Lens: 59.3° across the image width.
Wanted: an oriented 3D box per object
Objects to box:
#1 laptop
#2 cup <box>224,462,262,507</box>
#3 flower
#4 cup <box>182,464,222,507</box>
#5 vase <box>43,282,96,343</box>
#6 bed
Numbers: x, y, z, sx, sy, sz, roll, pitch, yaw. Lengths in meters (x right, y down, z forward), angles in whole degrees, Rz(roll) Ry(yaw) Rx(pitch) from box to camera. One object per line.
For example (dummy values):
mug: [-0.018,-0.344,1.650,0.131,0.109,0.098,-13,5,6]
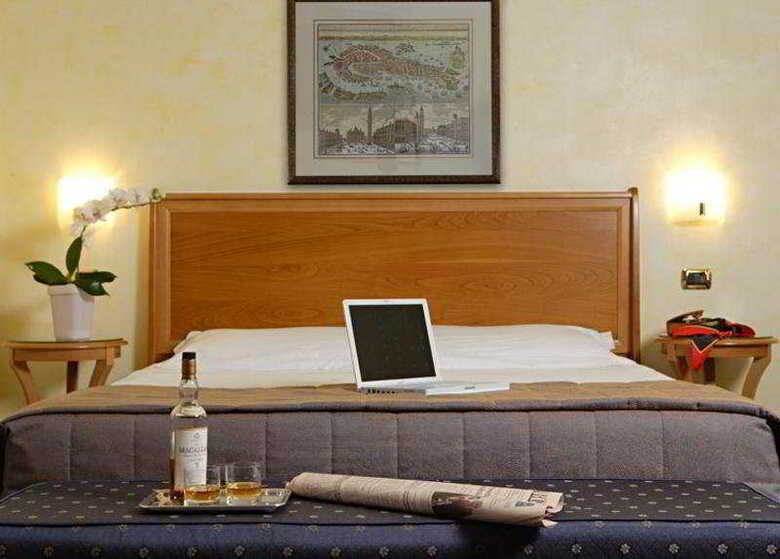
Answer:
laptop: [0.102,0.252,2.548,0.451,0.290,0.522,-7,-7,43]
cup: [-0.390,0.545,1.825,0.128,0.094,0.109,0,-2,0]
flower: [-1.497,-0.215,3.555,0.666,0.481,0.430,1,-1,2]
cup: [-0.492,0.551,1.810,0.103,0.061,0.100,1,-3,0]
vase: [-1.574,0.168,3.409,0.347,0.341,0.293,0,0,-15]
bed: [0.139,0.223,2.966,2.084,0.784,1.692,-1,-4,2]
